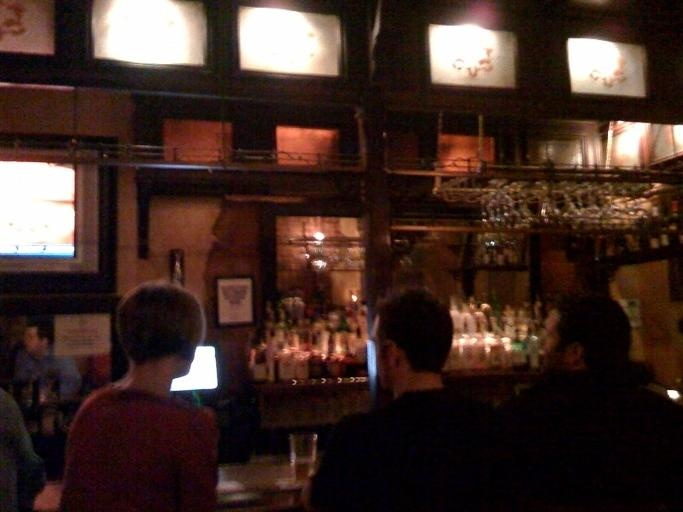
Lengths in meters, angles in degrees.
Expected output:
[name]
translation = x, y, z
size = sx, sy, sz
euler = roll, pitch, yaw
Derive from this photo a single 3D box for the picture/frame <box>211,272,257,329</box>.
[picture/frame]
translation = -0.731, 0.285, 4.571
size = 0.397, 0.457, 0.037
euler = -2, 6, -28
